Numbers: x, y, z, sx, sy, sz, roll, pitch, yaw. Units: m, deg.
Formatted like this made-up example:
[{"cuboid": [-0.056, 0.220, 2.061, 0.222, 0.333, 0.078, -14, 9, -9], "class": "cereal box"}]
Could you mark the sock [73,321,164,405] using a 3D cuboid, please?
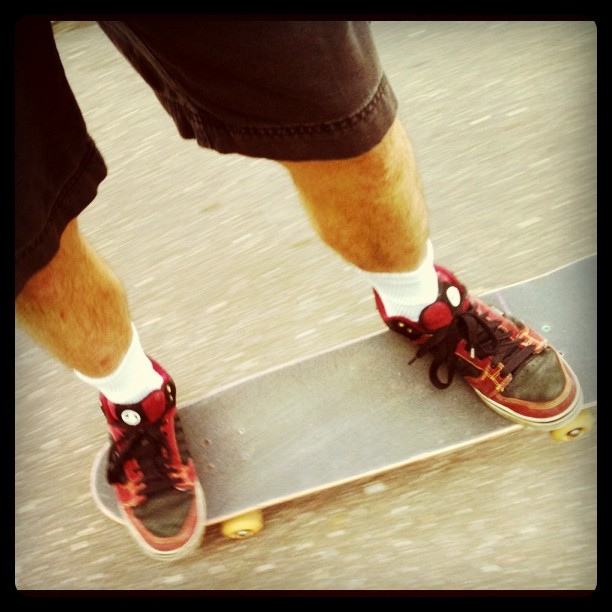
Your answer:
[{"cuboid": [-0.390, 0.149, 1.340, 0.139, 0.079, 0.142, -45, 55, -14], "class": "sock"}]

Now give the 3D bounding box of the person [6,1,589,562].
[{"cuboid": [-0.156, -0.149, 1.300, 1.029, 0.833, 1.006, -24, 54, 3], "class": "person"}]

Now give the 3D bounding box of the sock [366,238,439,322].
[{"cuboid": [0.203, -0.054, 1.277, 0.190, 0.172, 0.075, -10, 81, 17], "class": "sock"}]
